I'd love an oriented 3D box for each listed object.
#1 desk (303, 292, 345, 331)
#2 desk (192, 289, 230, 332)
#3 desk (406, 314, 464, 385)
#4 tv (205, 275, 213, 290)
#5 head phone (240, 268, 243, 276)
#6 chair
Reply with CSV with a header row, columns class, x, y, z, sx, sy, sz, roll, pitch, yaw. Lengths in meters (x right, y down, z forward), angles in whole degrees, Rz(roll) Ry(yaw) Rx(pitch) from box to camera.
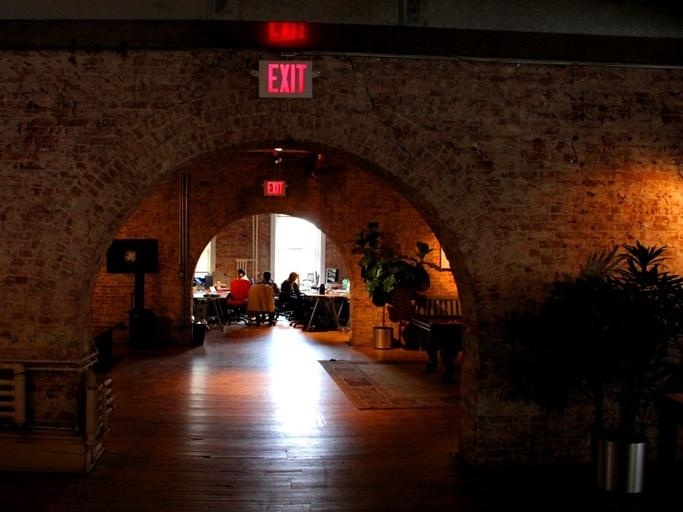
class,x,y,z,sx,sy,sz,roll,pitch,yaw
desk,-0.402,1.372,14.972,0.970,0.825,0.931,0,4,-10
desk,-3.235,1.348,15.149,0.812,0.989,2.670,1,-7,-11
desk,1.532,1.363,9.560,1.050,0.758,1.509,1,-2,-8
tv,-3.450,0.684,15.819,0.053,0.337,0.370,1,1,20
head phone,-2.477,0.401,15.151,0.115,0.135,0.136,-4,-33,-14
chair,-1.700,1.126,15.443,1.201,0.952,1.884,0,0,-2
